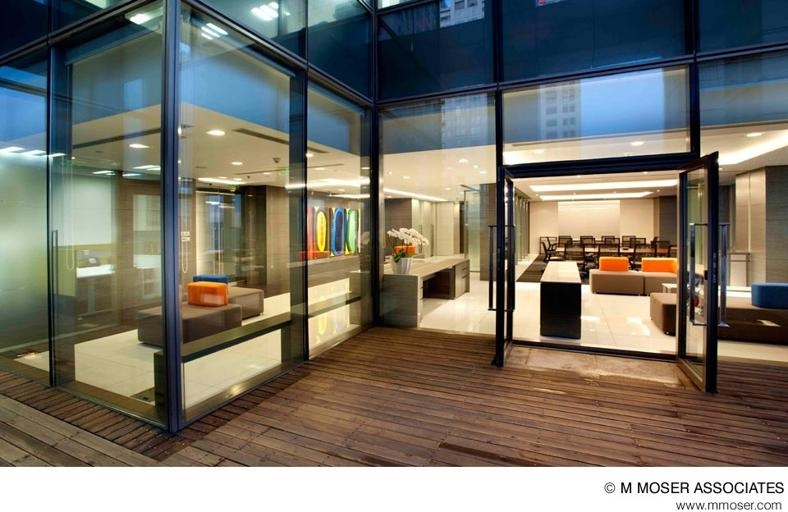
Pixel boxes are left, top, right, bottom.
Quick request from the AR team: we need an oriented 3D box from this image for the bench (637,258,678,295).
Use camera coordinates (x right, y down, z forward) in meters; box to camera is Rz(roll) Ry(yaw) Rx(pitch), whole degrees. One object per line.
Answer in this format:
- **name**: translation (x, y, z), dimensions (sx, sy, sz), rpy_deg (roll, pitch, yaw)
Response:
- **bench**: translation (5.874, 0.425, 11.272), dimensions (0.946, 0.630, 0.905), rpy_deg (-4, 10, -7)

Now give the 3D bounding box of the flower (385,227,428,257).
- **flower**: translation (0.197, -0.215, 8.098), dimensions (0.545, 0.287, 0.445), rpy_deg (0, 4, 7)

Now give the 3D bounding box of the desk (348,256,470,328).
- **desk**: translation (0.589, 0.503, 8.888), dimensions (0.806, 0.758, 2.079), rpy_deg (4, 12, 31)

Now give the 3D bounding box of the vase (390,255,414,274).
- **vase**: translation (0.124, 0.141, 8.171), dimensions (0.301, 0.193, 0.285), rpy_deg (0, -1, -18)

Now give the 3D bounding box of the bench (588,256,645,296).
- **bench**: translation (5.026, 0.418, 11.636), dimensions (1.328, 0.659, 1.233), rpy_deg (-1, 7, -6)
